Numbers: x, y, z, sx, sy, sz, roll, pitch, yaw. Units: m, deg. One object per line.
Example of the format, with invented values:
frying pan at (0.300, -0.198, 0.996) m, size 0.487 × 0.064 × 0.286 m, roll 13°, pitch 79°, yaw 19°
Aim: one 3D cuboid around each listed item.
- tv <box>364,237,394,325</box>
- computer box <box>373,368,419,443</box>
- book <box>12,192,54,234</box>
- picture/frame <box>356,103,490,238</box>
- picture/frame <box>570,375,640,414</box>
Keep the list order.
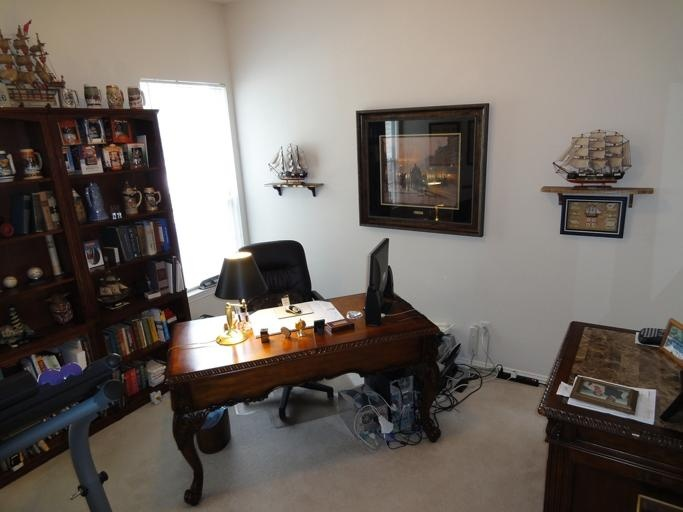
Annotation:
tv at (0.305, 0.217, 3.805) m, size 0.155 × 0.432 × 0.565 m, roll 3°, pitch 34°, yaw 12°
computer box at (0.452, 1.205, 3.966) m, size 0.318 × 0.487 × 0.329 m, roll 7°, pitch 10°, yaw 36°
book at (-2.393, -0.333, 3.716) m, size 0.249 × 0.260 × 0.154 m, roll 13°, pitch 16°, yaw 36°
picture/frame at (0.793, -0.836, 4.496) m, size 1.190 × 1.214 × 0.098 m, roll 4°, pitch 17°, yaw 24°
picture/frame at (1.510, 0.795, 2.754) m, size 0.279 × 0.078 × 0.174 m, roll 6°, pitch 38°, yaw 36°
